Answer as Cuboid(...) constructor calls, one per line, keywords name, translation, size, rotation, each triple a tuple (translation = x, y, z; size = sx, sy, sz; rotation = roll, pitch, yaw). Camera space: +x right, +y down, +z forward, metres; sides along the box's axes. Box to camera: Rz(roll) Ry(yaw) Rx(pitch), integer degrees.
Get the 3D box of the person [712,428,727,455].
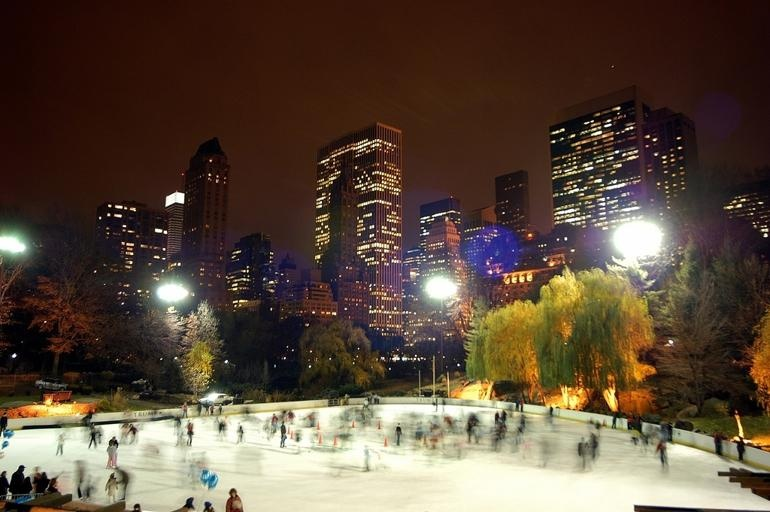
Cuboid(name="person", translation=(28.560, 15.965, 48.400), size=(0.926, 1.880, 0.953), rotation=(-9, -20, 23))
